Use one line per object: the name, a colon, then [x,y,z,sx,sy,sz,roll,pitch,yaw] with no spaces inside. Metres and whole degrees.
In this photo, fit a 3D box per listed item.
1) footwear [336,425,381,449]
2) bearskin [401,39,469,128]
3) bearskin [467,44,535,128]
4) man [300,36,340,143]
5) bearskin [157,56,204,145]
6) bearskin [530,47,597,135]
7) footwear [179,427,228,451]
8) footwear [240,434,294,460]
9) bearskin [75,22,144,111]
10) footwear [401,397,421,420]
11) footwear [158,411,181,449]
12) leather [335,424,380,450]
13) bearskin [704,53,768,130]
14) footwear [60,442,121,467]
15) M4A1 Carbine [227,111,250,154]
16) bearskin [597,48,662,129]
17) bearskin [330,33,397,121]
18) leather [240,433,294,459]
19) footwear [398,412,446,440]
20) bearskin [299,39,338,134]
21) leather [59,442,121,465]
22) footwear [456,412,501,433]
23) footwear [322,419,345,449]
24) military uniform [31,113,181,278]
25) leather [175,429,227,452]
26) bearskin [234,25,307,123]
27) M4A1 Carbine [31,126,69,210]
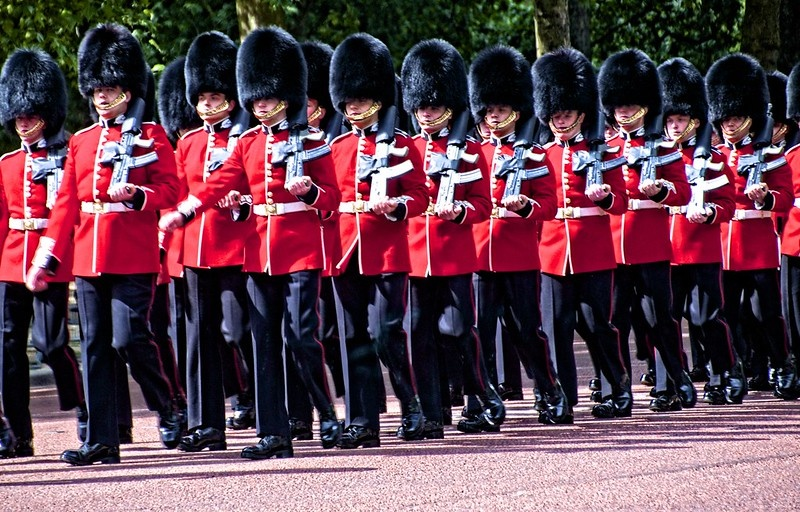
footwear: [-0.304,1.302,9.929,0.344,0.135,0.132,3,-8,-10]
bearskin: [0.268,-1.387,10.552,0.564,0.481,0.666,-1,3,-2]
bearskin: [0.821,-1.433,11.113,0.587,0.546,0.668,-1,1,-1]
man: [-0.647,-1.386,11.230,0.300,0.989,0.363,-9,-25,17]
bearskin: [-1.801,-1.372,11.842,0.240,0.734,0.497,10,-20,-44]
bearskin: [1.380,-1.433,11.334,0.610,0.553,0.753,1,6,3]
footwear: [-1.438,1.329,10.009,0.371,0.156,0.141,2,-4,-7]
footwear: [-0.922,1.334,9.584,0.385,0.153,0.151,2,-2,-11]
bearskin: [-2.264,-1.572,10.403,0.396,0.387,0.508,-37,-11,-24]
footwear: [0.082,1.112,10.126,0.202,0.151,0.108,-4,8,2]
footwear: [-1.720,1.286,10.180,0.129,0.305,0.147,0,3,1]
leather: [-0.297,1.300,9.867,0.331,0.133,0.136,4,-8,-8]
bearskin: [3.105,-1.536,12.506,0.620,0.564,0.821,1,0,11]
footwear: [-2.172,1.377,9.603,0.428,0.154,0.151,5,-3,-13]
M4A1 Carbine: [-1.235,-0.985,10.456,0.097,0.530,0.064,35,-47,-19]
bearskin: [1.965,-1.527,11.874,0.581,0.503,0.695,1,8,12]
bearskin: [-0.274,-1.395,10.184,0.516,0.484,0.637,-2,1,1]
leather: [-0.949,1.334,9.664,0.379,0.151,0.149,2,-2,-11]
footwear: [0.152,1.292,10.238,0.418,0.157,0.132,2,-4,-17]
bearskin: [-0.669,-1.431,11.237,0.302,0.883,0.324,-9,-31,13]
leather: [-2.181,1.370,9.608,0.416,0.147,0.147,5,-3,-13]
footwear: [0.613,1.291,10.638,0.324,0.115,0.135,3,-7,0]
footwear: [-0.500,1.270,9.957,0.130,0.241,0.100,-1,0,-17]
military uniform: [-2.160,-0.429,9.827,1.403,1.190,0.861,-1,-13,6]
leather: [-1.458,1.334,10.009,0.376,0.159,0.143,2,-4,-7]
bearskin: [-0.950,-1.337,10.042,0.544,0.523,0.747,9,24,32]
M4A1 Carbine: [-2.597,-0.677,10.315,0.367,0.634,0.153,3,-32,5]
